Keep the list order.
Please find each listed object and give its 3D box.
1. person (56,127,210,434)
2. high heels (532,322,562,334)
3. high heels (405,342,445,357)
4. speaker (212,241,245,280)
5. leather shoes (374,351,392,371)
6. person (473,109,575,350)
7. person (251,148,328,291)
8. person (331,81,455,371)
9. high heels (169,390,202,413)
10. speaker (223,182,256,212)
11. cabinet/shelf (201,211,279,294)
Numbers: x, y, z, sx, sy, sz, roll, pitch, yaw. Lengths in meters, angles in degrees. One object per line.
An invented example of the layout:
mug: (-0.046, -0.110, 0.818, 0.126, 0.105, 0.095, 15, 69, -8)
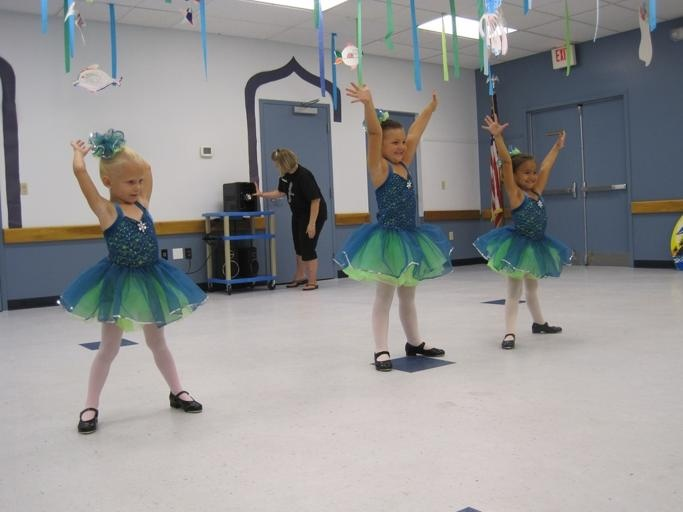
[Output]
person: (-0.882, 0.086, 2.238, 0.554, 1.222, 0.318, -6, 7, -36)
high heels: (1.377, 0.475, 3.556, 0.182, 0.079, 0.080, -1, 0, 6)
high heels: (0.480, 0.536, 3.092, 0.229, 0.096, 0.087, -2, -3, 6)
speaker: (-1.436, 0.043, 6.557, 0.256, 0.451, 0.409, -5, 7, -32)
leather shoes: (0.224, 0.557, 2.859, 0.102, 0.094, 0.136, -2, 6, 3)
person: (1.137, -0.177, 3.366, 0.758, 1.416, 0.373, -5, 7, -33)
person: (-0.527, -0.416, 6.303, 0.696, 1.667, 0.695, -6, 7, -40)
person: (0.289, -0.185, 2.936, 0.525, 1.564, 0.760, 2, 7, 33)
high heels: (-0.694, 0.653, 2.402, 0.194, 0.087, 0.067, 0, 1, 36)
speaker: (-1.263, -0.716, 6.582, 0.364, 0.378, 0.359, 0, 3, 36)
cabinet/shelf: (-1.207, -0.062, 6.635, 0.686, 0.902, 0.463, -4, 2, -26)
